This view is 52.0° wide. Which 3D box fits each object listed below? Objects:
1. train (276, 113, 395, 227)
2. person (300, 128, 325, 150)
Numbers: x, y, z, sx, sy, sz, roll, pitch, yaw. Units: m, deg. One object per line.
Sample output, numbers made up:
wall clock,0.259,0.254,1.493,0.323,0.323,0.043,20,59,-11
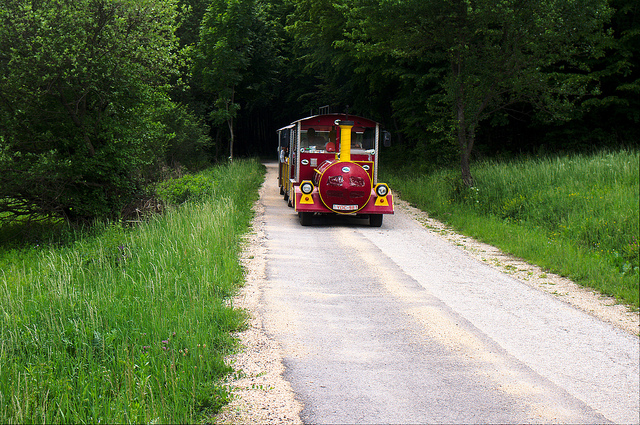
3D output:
train,0.441,-1.632,23.652,3.177,3.786,5.178,-1,11,-10
person,-0.290,-2.575,23.795,0.961,1.211,0.649,-1,-1,-5
